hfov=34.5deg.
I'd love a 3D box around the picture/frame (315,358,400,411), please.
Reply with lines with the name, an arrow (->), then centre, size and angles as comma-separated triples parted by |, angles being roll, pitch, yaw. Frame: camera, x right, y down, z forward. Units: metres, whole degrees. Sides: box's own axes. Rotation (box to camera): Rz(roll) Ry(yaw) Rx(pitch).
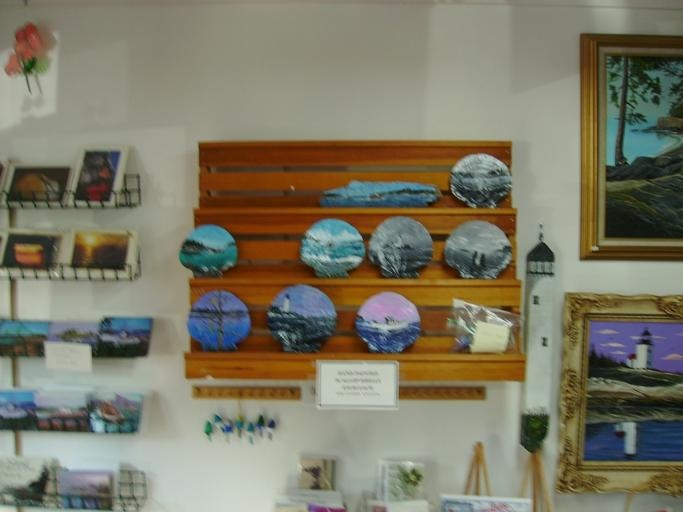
picture/frame -> 0.078, 0.585, 5.098 | 0.378, 0.224, 0.090 | 0, -7, -1
